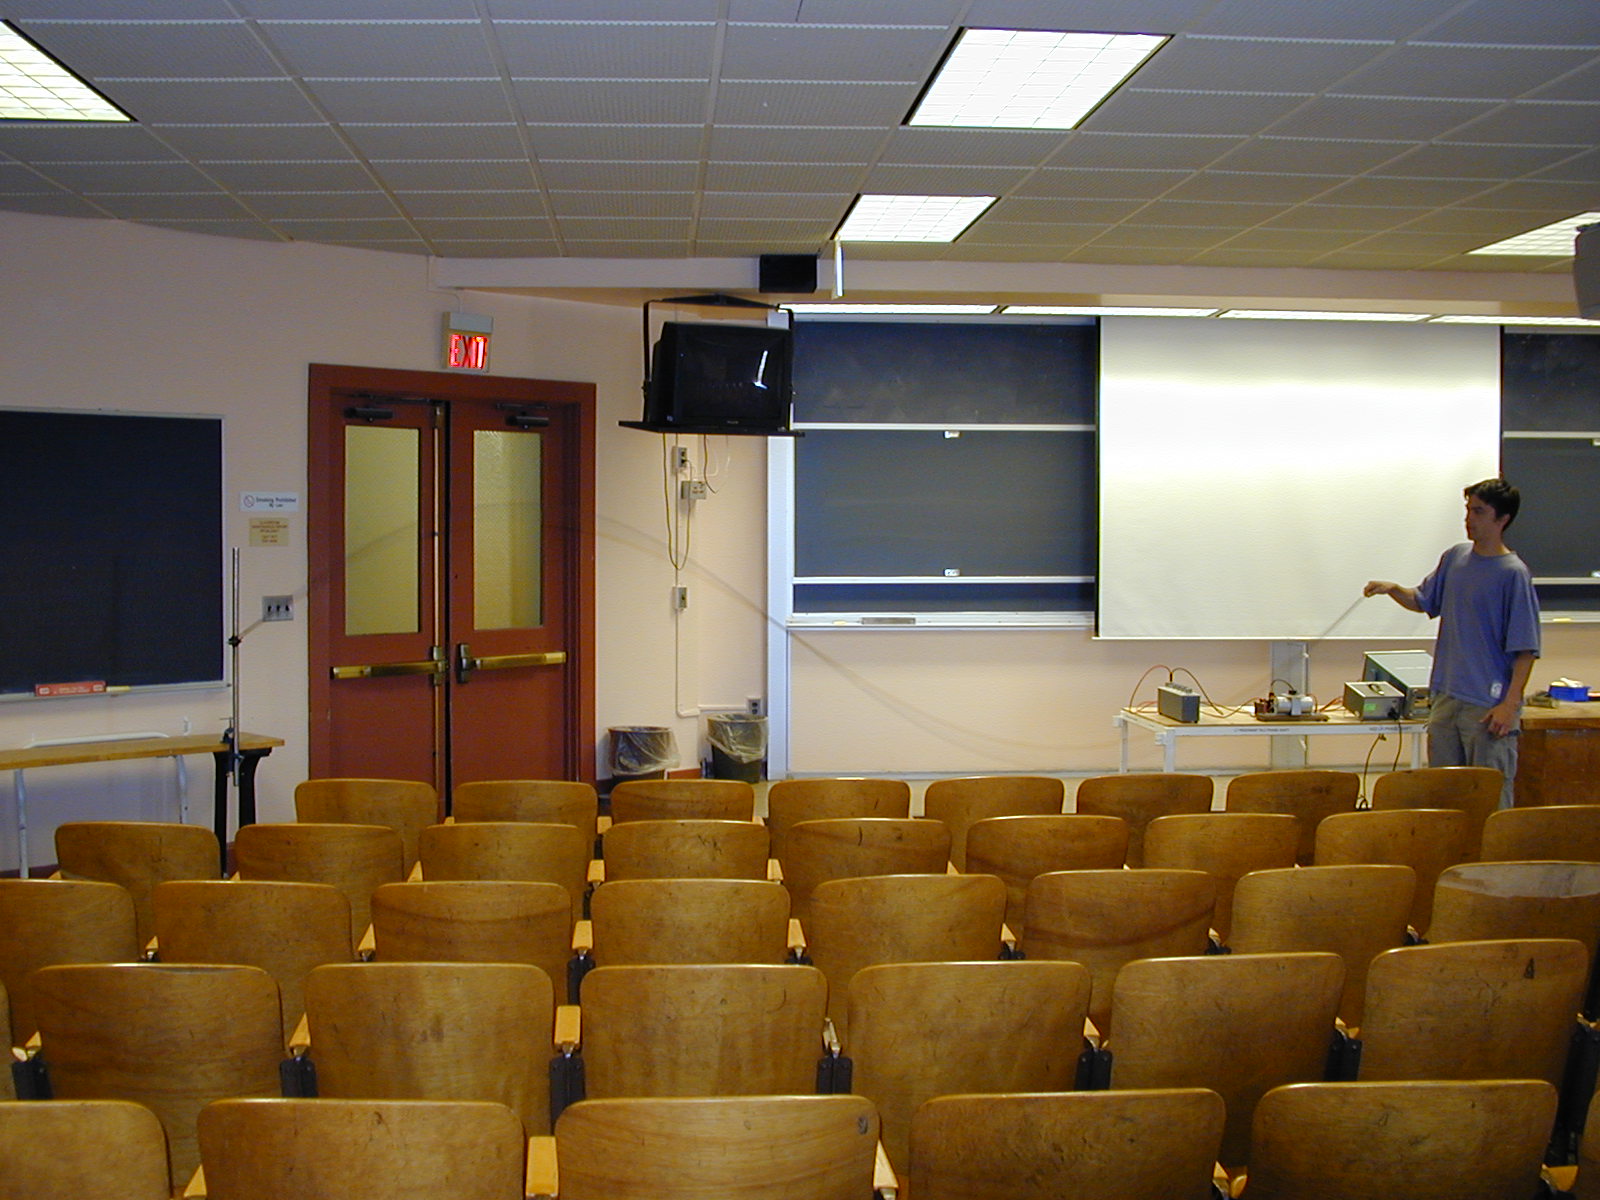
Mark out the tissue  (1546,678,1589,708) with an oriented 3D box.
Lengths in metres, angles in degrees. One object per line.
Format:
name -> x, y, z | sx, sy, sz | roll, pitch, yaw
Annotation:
tissue  -> 4.517, 0.537, 7.934 | 0.157, 0.096, 0.165 | 1, 0, 17

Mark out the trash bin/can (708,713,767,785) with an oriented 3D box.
trash bin/can -> -0.367, 0.974, 8.899 | 0.351, 0.458, 0.415 | 0, -1, 44

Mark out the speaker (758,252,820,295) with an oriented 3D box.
speaker -> -0.062, -1.949, 7.990 | 0.366, 0.210, 0.181 | 1, 2, -5

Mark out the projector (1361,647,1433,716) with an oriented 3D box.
projector -> 3.392, 0.437, 7.654 | 0.271, 0.143, 0.382 | -4, 18, -6

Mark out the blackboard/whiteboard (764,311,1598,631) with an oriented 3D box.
blackboard/whiteboard -> 2.290, -0.860, 9.216 | 4.647, 2.173, 0.405 | 1, 2, -3

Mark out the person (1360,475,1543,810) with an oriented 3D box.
person -> 3.252, 0.191, 6.562 | 0.461, 1.539, 0.610 | -1, 2, -45

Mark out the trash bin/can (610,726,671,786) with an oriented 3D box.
trash bin/can -> -1.010, 0.983, 8.573 | 0.329, 0.343, 0.344 | 0, -4, 1
